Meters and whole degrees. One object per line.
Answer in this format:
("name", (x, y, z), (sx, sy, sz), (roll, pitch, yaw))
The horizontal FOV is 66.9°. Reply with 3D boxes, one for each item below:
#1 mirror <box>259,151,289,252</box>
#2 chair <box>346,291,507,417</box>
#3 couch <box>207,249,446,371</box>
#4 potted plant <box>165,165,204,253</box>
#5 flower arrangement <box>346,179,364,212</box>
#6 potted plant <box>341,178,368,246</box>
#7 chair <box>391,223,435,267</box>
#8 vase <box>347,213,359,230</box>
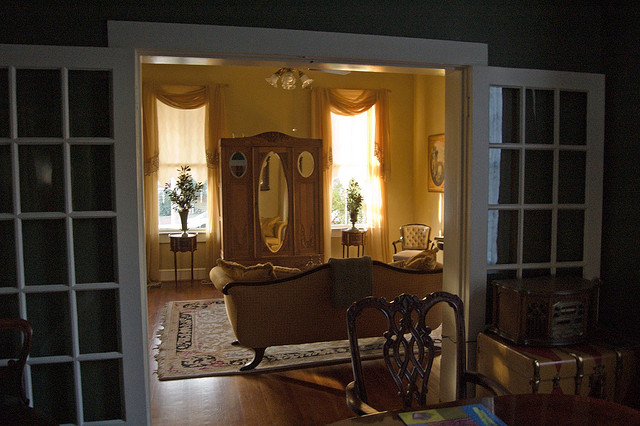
("mirror", (-0.730, -0.275, 7.657), (0.598, 1.928, 0.066), (0, -28, -8))
("chair", (0.579, 0.880, 2.975), (0.900, 0.732, 0.556), (-3, 14, -11))
("couch", (0.158, 0.907, 5.147), (2.421, 1.088, 1.078), (-1, 6, -20))
("potted plant", (-2.157, -0.073, 7.803), (0.464, 1.242, 0.544), (-2, 2, 42))
("flower arrangement", (0.592, -0.305, 8.443), (0.232, 0.531, 0.338), (-2, 14, -6))
("potted plant", (0.617, 0.024, 8.439), (0.433, 1.176, 0.546), (1, 14, 5))
("chair", (1.479, 0.632, 7.952), (0.691, 0.872, 0.724), (1, 1, 6))
("vase", (0.563, 0.136, 8.368), (0.222, 0.307, 0.226), (0, 0, -5))
